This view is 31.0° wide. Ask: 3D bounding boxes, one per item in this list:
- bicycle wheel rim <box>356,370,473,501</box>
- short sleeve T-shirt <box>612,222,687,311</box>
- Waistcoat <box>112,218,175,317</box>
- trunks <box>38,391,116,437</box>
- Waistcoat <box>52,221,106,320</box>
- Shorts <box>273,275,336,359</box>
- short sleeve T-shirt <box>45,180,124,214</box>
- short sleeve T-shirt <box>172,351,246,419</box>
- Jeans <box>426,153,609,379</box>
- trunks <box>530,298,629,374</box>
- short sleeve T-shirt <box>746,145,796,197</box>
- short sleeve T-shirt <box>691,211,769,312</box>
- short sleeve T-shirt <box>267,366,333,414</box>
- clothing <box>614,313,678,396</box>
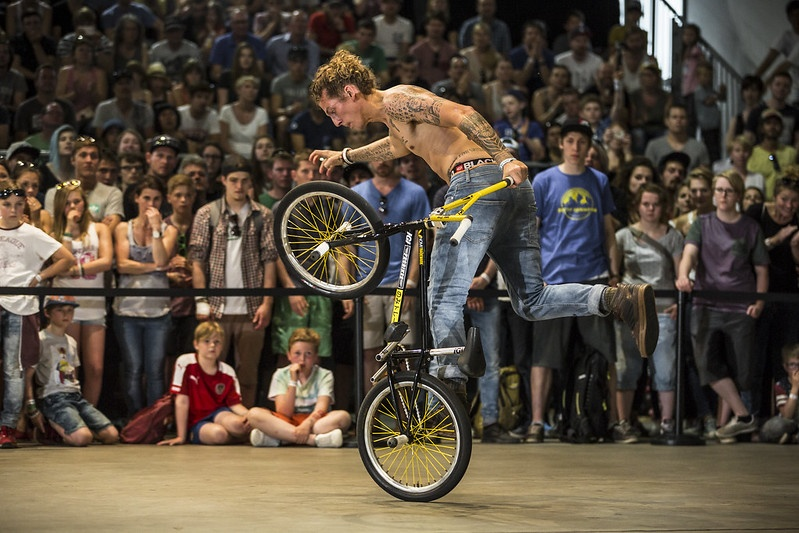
[{"bbox_3d":[0.111,1.590,13.396,1.365,1.202,0.572,-5,-2,40],"label":"bicycle wheel rim"},{"bbox_3d":[2.676,0.042,15.407,1.054,1.003,0.604,0,-10,5],"label":"short sleeve T-shirt"},{"bbox_3d":[-2.843,0.161,15.620,0.542,0.896,0.929,30,-55,-33],"label":"Waistcoat"},{"bbox_3d":[-3.383,1.553,15.102,0.734,0.419,0.231,-1,11,-11],"label":"trunks"},{"bbox_3d":[-3.415,0.196,15.650,0.633,1.623,0.455,-2,24,-16],"label":"Waistcoat"},{"bbox_3d":[-1.000,0.591,15.326,1.002,0.806,0.300,2,-15,-7],"label":"Shorts"},{"bbox_3d":[-3.503,-0.735,16.219,0.730,0.584,0.382,-2,-9,-8],"label":"short sleeve T-shirt"},{"bbox_3d":[-2.084,1.324,15.429,0.819,0.695,0.367,4,11,-21],"label":"short sleeve T-shirt"},{"bbox_3d":[1.198,0.063,14.404,1.706,2.312,1.174,-20,-42,21],"label":"Jeans"},{"bbox_3d":[1.881,0.731,14.996,0.958,0.756,0.310,1,-14,-1],"label":"trunks"},{"bbox_3d":[4.534,-1.272,17.914,0.705,0.612,0.226,9,-13,24],"label":"short sleeve T-shirt"},{"bbox_3d":[3.583,-0.001,15.686,1.201,1.147,0.643,2,-2,4],"label":"short sleeve T-shirt"},{"bbox_3d":[-1.039,1.317,15.628,0.967,0.637,0.465,2,-6,-2],"label":"short sleeve T-shirt"},{"bbox_3d":[2.688,1.017,15.661,0.542,1.091,0.409,-6,-4,43],"label":"clothing"}]
